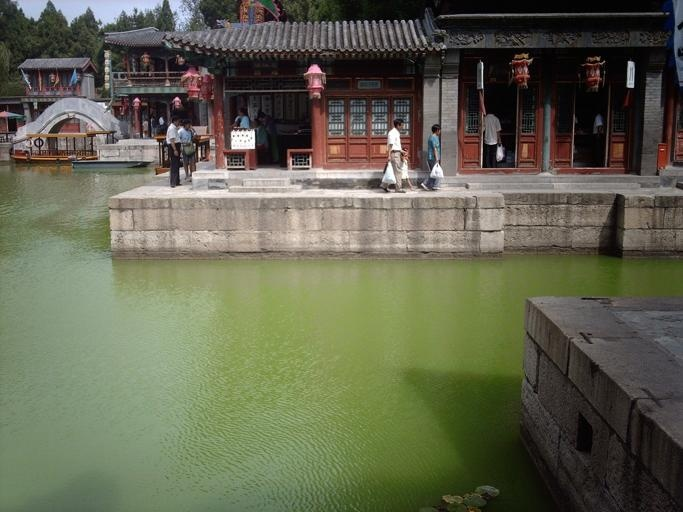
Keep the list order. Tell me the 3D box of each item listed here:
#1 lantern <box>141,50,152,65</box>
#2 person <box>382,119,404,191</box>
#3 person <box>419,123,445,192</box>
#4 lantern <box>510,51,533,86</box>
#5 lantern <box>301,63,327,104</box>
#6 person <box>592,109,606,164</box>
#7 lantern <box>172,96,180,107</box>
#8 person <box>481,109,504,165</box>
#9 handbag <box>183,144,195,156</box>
[{"bbox_3d":[-12.713,-13.003,45.704,0.560,0.809,1.149,-4,15,-15],"label":"lantern"},{"bbox_3d":[1.185,-2.209,15.368,0.342,1.529,0.821,1,13,4],"label":"person"},{"bbox_3d":[2.076,-2.300,16.247,0.411,1.549,1.198,1,14,5],"label":"person"},{"bbox_3d":[4.156,-4.363,16.309,0.413,0.764,0.627,3,14,12],"label":"lantern"},{"bbox_3d":[-0.637,-4.175,16.838,0.747,1.073,0.722,-2,8,-4],"label":"lantern"},{"bbox_3d":[6.796,-3.108,18.468,0.317,1.426,0.881,5,14,20],"label":"person"},{"bbox_3d":[-9.466,-8.916,40.301,0.324,0.541,1.002,-4,15,-14],"label":"lantern"},{"bbox_3d":[3.869,-2.985,18.055,0.473,1.375,0.702,4,14,18],"label":"person"},{"bbox_3d":[-3.989,-2.796,18.245,0.238,0.267,0.128,-13,20,-40],"label":"handbag"}]
